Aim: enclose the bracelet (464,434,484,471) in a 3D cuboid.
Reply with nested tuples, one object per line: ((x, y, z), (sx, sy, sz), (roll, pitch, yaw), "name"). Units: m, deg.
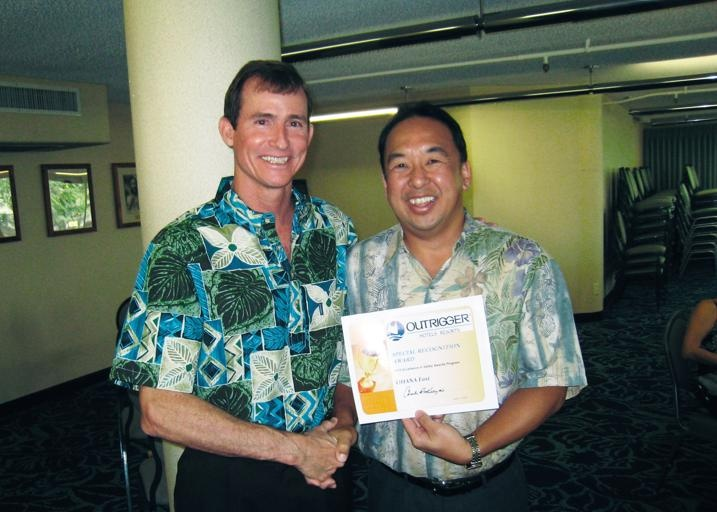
((0.600, 1.017, 3.188), (0.116, 0.150, 0.170), (-3, 27, 16), "bracelet")
